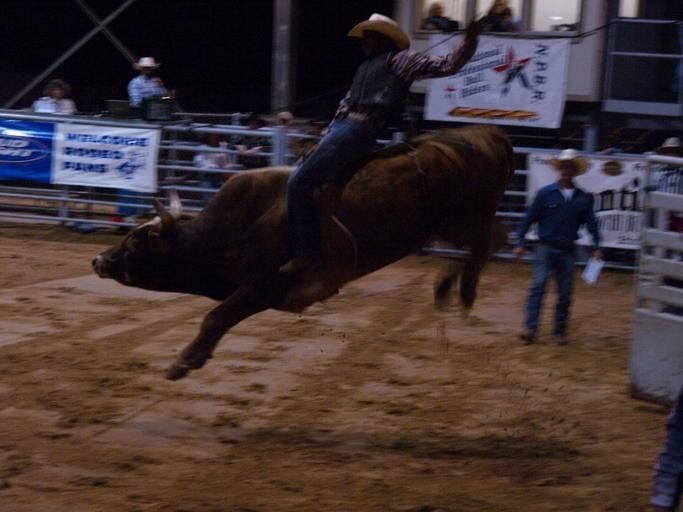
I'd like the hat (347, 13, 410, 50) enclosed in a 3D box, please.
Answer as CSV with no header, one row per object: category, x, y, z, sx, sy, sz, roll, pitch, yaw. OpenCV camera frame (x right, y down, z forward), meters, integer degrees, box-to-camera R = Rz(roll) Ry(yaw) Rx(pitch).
hat,0.294,-1.394,4.634,0.378,0.097,0.266,14,-1,-6

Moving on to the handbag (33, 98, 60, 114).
handbag,-4.461,-2.274,11.270,0.345,0.277,0.570,4,3,-20

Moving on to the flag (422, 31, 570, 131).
flag,1.037,-1.101,4.785,0.128,0.541,1.235,-13,18,-33

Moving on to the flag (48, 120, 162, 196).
flag,-3.350,-1.369,10.369,2.255,0.895,0.039,7,12,33

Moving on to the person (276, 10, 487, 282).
person,0.237,-0.684,4.559,0.964,1.529,0.294,8,4,17

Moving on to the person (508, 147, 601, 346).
person,1.809,0.066,6.345,0.659,1.030,0.768,8,4,13
